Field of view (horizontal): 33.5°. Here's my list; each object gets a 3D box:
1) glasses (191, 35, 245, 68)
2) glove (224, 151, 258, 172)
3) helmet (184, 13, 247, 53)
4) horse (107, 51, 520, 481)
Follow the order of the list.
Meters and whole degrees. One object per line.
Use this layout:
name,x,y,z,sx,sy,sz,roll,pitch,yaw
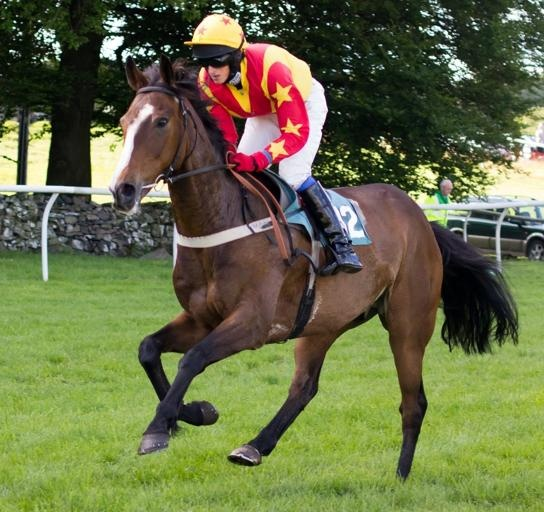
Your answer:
glasses,-0.266,-0.953,4.258,0.137,0.071,0.173,-1,-11,22
glove,-0.142,-0.444,4.310,0.161,0.086,0.075,6,10,17
helmet,-0.262,-1.059,4.301,0.256,0.118,0.182,0,5,-39
horse,0.281,0.138,4.902,0.724,1.820,3.309,1,-3,42
